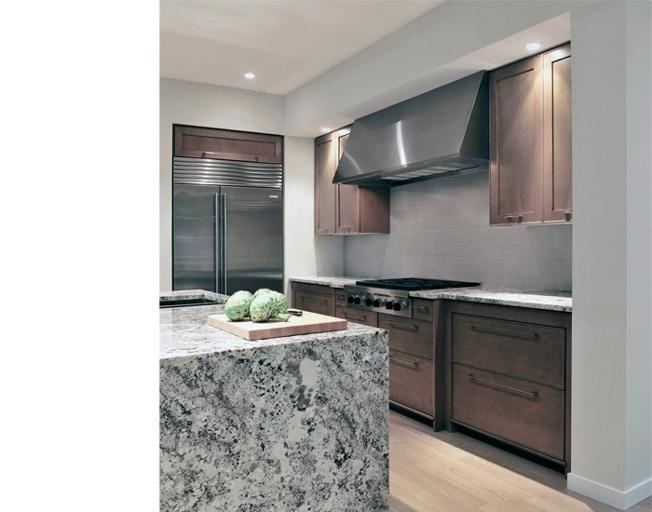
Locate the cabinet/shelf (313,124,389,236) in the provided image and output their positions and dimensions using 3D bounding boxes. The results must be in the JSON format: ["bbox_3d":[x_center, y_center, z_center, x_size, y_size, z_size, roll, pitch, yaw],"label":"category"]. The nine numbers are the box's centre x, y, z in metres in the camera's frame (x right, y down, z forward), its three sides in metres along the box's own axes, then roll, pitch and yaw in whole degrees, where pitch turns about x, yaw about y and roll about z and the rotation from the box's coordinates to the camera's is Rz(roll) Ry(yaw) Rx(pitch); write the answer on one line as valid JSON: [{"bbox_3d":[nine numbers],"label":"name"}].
[{"bbox_3d":[0.246,-0.656,4.456,0.380,0.976,1.018,-2,4,-22],"label":"cabinet/shelf"}]

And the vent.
[{"bbox_3d":[0.515,-0.848,3.456,0.354,0.493,1.406,-12,8,-37],"label":"vent"}]

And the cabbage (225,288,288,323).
[{"bbox_3d":[-0.204,0.127,1.357,0.123,0.051,0.117,1,-1,-20],"label":"cabbage"}]

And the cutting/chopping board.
[{"bbox_3d":[-0.153,0.198,1.433,0.319,0.043,0.338,-1,4,-30],"label":"cutting/chopping board"}]

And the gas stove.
[{"bbox_3d":[0.497,0.284,3.195,0.917,0.226,0.526,1,3,16],"label":"gas stove"}]

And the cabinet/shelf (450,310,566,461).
[{"bbox_3d":[1.039,0.649,2.521,0.446,0.704,0.748,-2,3,-34],"label":"cabinet/shelf"}]
